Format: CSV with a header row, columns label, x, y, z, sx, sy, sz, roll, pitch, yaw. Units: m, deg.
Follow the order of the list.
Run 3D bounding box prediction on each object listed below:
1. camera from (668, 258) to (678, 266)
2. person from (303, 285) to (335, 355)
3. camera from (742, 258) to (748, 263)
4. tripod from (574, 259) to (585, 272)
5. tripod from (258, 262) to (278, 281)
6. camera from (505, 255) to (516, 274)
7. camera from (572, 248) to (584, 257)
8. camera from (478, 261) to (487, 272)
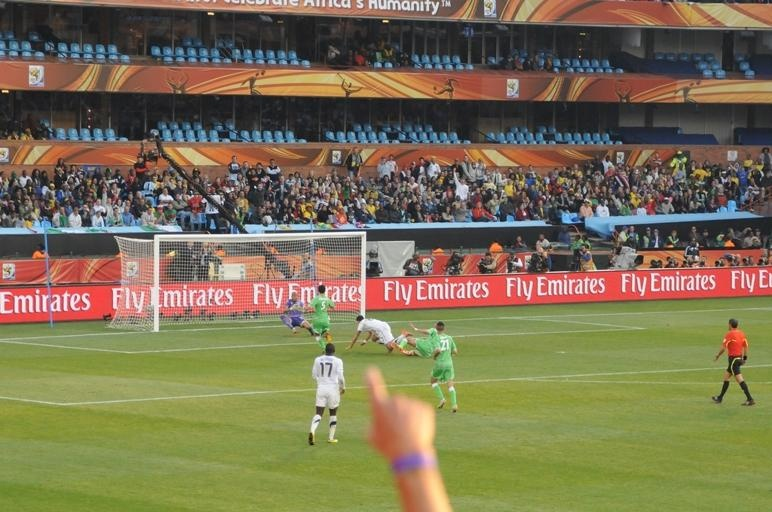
label,x,y,z,sx,sy,sz,roll,pitch,yaw
camera,14.210,0.315,85.398,0.367,0.157,0.465,9,11,18
person,-2.595,2.491,69.377,1.199,2.571,1.242,3,-2,-2
camera,17.798,0.229,85.467,0.267,0.215,0.240,2,4,7
tripod,9.271,0.469,82.950,0.245,0.671,0.253,3,1,8
tripod,-5.071,0.681,75.889,0.948,0.783,0.209,-2,4,-20
camera,5.915,0.366,81.470,0.484,0.739,0.282,0,-6,-2
camera,9.282,-0.197,82.793,0.290,0.419,0.582,-2,4,-21
camera,4.539,0.502,81.798,0.204,0.466,0.352,4,-39,-28
